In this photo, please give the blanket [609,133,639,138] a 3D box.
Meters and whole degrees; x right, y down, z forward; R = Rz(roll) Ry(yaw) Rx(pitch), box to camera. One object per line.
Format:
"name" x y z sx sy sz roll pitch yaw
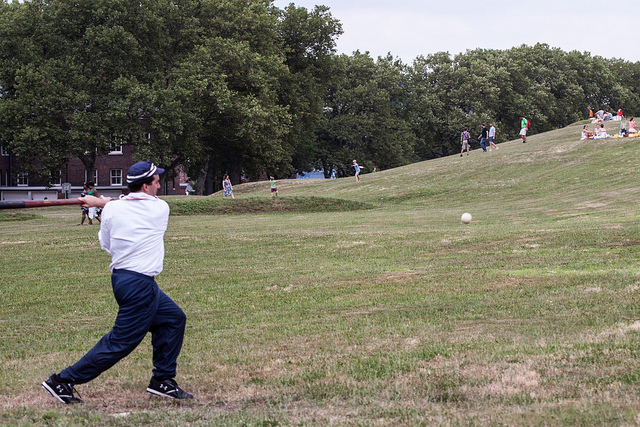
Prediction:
"blanket" 23.661 -6.034 76.023 2.217 0.267 1.351 -4 1 1
